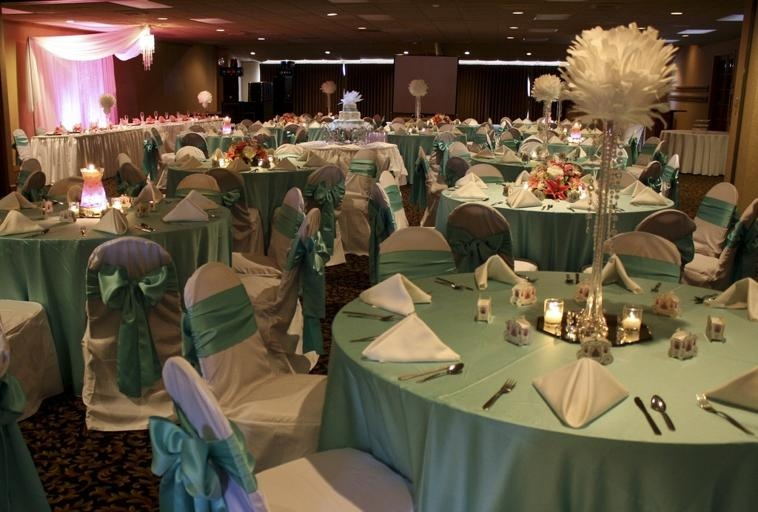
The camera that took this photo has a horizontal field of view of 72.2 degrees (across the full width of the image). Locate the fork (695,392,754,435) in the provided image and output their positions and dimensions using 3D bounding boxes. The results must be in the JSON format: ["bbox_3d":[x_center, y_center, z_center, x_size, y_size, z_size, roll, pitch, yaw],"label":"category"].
[{"bbox_3d":[1.241,0.573,1.909,0.047,0.047,0.247,-16,30,-12],"label":"fork"}]

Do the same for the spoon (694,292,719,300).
[{"bbox_3d":[1.733,0.220,2.771,0.077,0.037,0.056,-1,-10,-22],"label":"spoon"}]

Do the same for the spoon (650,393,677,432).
[{"bbox_3d":[1.035,0.569,1.889,0.032,0.022,0.124,-2,33,0],"label":"spoon"}]

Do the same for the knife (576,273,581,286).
[{"bbox_3d":[1.129,0.136,2.948,0.045,0.062,0.052,1,8,14],"label":"knife"}]

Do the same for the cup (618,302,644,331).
[{"bbox_3d":[1.180,0.288,2.461,0.092,0.127,0.102,1,6,10],"label":"cup"}]

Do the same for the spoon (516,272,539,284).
[{"bbox_3d":[0.867,0.125,3.031,0.071,0.064,0.136,5,2,-3],"label":"spoon"}]

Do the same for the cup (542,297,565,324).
[{"bbox_3d":[0.836,0.267,2.535,0.092,0.127,0.107,0,6,8],"label":"cup"}]

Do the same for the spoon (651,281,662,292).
[{"bbox_3d":[1.554,0.173,2.913,0.046,0.050,0.082,0,22,19],"label":"spoon"}]
